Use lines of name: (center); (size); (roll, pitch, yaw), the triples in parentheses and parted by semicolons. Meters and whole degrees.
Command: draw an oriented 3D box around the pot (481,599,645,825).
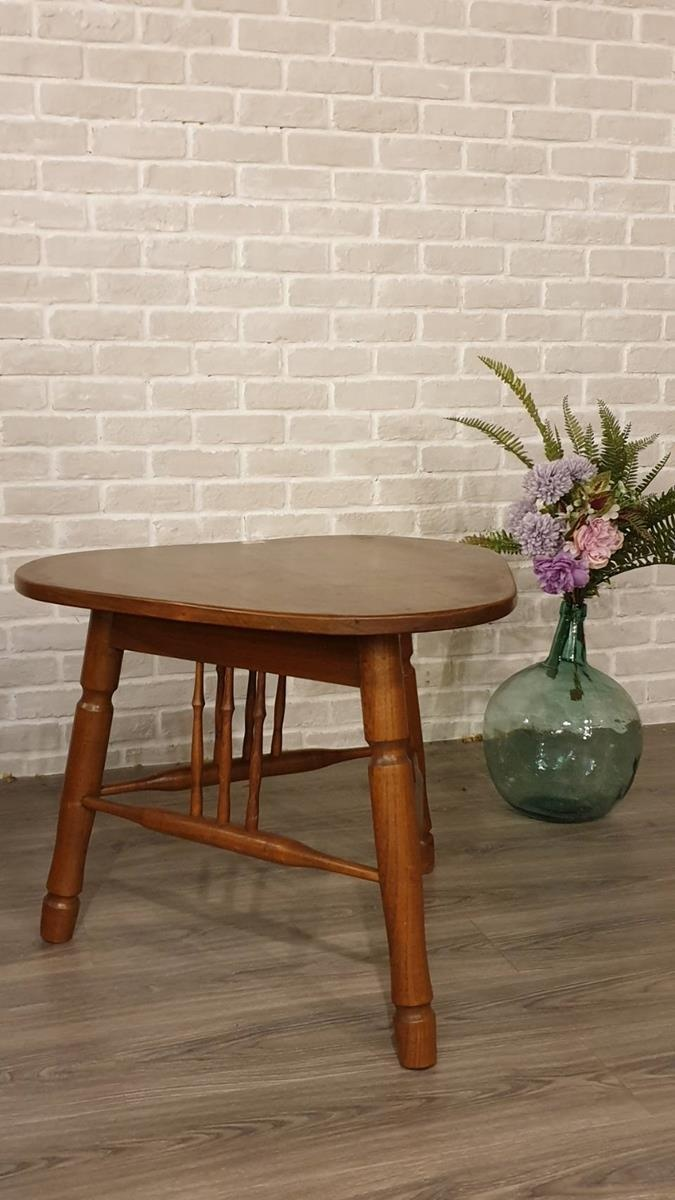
pot: (0.383, 0.179, 1.844); (0.273, 0.352, 0.267); (2, 4, 0)

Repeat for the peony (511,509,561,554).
peony: (0.298, -0.100, 1.653); (0.066, 0.045, 0.062); (4, -5, -41)

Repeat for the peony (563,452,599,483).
peony: (0.365, -0.198, 1.652); (0.043, 0.034, 0.042); (8, 8, 0)

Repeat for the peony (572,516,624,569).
peony: (0.384, -0.085, 1.641); (0.077, 0.073, 0.044); (-7, 6, 0)

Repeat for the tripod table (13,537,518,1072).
tripod table: (-0.055, 0.146, 1.427); (0.626, 0.495, 0.589); (4, 9, 28)

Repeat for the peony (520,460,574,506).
peony: (0.316, -0.177, 1.645); (0.069, 0.039, 0.070); (-30, 19, -37)

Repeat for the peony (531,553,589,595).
peony: (0.336, -0.031, 1.674); (0.071, 0.064, 0.037); (28, 35, 17)
